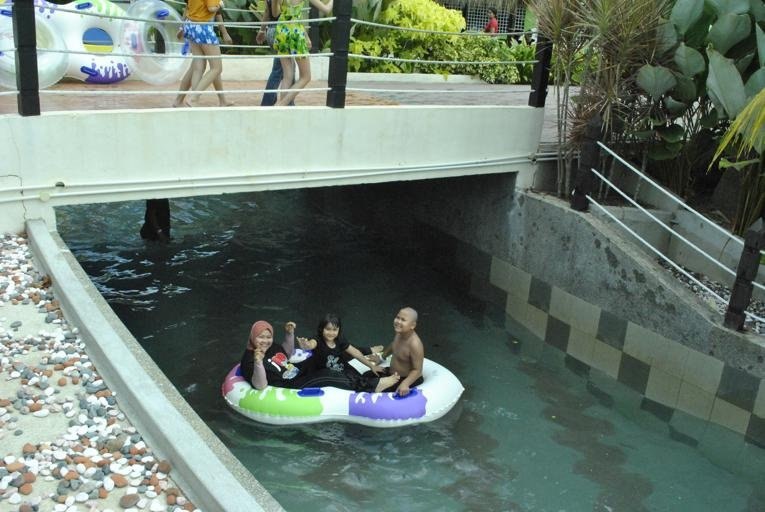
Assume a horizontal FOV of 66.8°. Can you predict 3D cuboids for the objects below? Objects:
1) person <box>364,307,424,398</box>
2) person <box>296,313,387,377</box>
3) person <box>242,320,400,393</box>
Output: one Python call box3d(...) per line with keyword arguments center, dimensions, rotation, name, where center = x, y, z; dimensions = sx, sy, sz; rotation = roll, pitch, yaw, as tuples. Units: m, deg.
box3d(center=(0.144, 1.016, 6.370), dimensions=(0.594, 0.881, 0.857), rotation=(-4, 11, -34), name="person")
box3d(center=(-0.444, 0.985, 6.398), dimensions=(0.651, 0.548, 1.068), rotation=(3, 16, 9), name="person")
box3d(center=(-0.725, 1.172, 6.292), dimensions=(1.404, 0.632, 0.835), rotation=(1, 17, -2), name="person")
